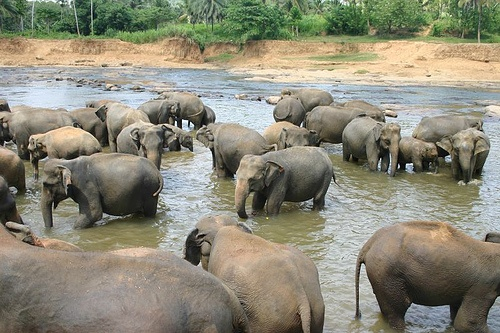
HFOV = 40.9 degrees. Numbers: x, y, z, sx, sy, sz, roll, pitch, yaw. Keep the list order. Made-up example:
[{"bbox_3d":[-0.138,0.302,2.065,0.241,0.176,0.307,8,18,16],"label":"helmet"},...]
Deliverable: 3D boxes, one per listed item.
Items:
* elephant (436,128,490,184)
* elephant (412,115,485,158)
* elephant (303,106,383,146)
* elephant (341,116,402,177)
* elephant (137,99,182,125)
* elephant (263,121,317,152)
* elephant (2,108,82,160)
[{"bbox_3d":[5.141,-0.284,15.782,1.041,1.182,0.902,-11,15,-39],"label":"elephant"},{"bbox_3d":[4.938,-0.791,17.216,1.994,1.018,0.807,-8,23,-9],"label":"elephant"},{"bbox_3d":[2.559,-1.201,18.380,2.155,1.109,0.887,1,35,7],"label":"elephant"},{"bbox_3d":[3.056,-0.520,16.601,0.588,1.204,1.746,-8,13,-29],"label":"elephant"},{"bbox_3d":[-2.695,-1.587,20.246,1.317,0.965,0.570,-10,54,-12],"label":"elephant"},{"bbox_3d":[0.969,-0.718,16.033,0.613,0.688,1.341,-9,6,-21],"label":"elephant"},{"bbox_3d":[-4.766,-0.845,16.411,2.540,1.369,0.824,3,20,6],"label":"elephant"}]
